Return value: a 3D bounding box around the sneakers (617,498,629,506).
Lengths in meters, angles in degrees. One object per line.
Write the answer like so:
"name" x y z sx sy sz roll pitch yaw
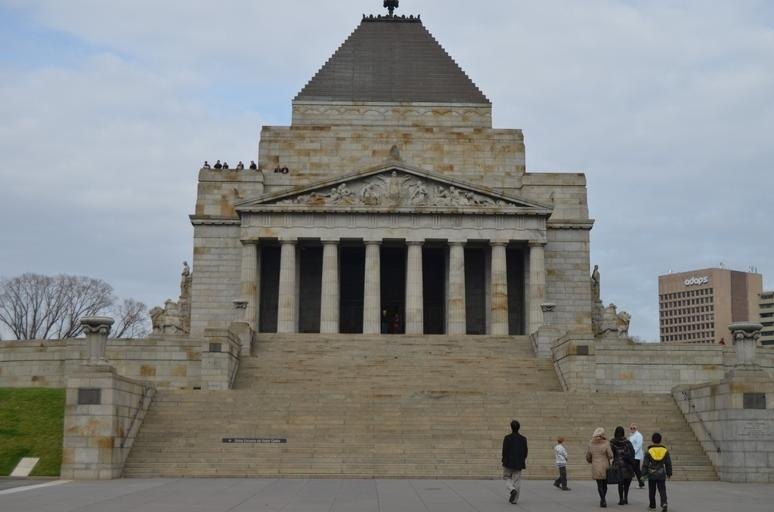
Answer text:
"sneakers" 9.275 9.602 50.781 0.172 0.264 0.429 0 1 -8

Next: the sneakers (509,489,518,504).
"sneakers" 4.910 9.268 49.944 0.275 0.583 0.258 5 35 4

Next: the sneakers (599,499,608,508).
"sneakers" 8.373 9.521 49.936 0.257 0.255 0.418 -1 -8 9

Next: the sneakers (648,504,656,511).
"sneakers" 10.167 9.634 49.754 0.217 0.200 0.372 6 -9 -31

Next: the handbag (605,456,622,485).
"handbag" 8.869 8.370 50.471 0.582 0.847 0.297 2 -9 -7

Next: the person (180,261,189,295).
"person" -13.145 1.634 85.806 0.427 2.308 0.718 -6 -11 35
